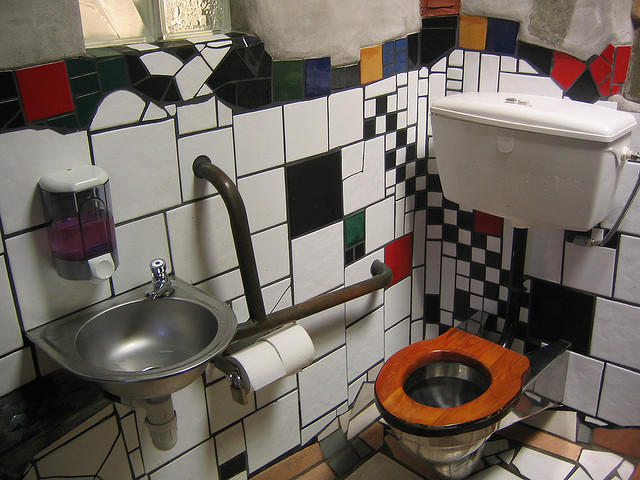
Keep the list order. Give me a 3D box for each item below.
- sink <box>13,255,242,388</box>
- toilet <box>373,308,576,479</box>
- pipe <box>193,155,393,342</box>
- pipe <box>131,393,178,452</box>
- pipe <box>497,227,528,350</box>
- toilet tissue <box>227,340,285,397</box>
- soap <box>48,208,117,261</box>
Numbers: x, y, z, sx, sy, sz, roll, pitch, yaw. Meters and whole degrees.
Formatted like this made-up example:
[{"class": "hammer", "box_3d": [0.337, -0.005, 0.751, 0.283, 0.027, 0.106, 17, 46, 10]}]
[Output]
[{"class": "sink", "box_3d": [-0.392, 0.232, 1.245, 0.331, 0.179, 0.337, 20, 32, 36]}, {"class": "toilet", "box_3d": [0.526, 0.476, 1.836, 0.401, 0.361, 0.718, 15, 35, 35]}, {"class": "pipe", "box_3d": [-0.084, 0.014, 1.666, 0.819, 0.476, 0.272, -15, 15, -41]}, {"class": "pipe", "box_3d": [-0.386, 0.426, 1.279, 0.088, 0.183, 0.036, -16, 28, -24]}, {"class": "pipe", "box_3d": [0.687, 0.171, 1.933, 0.061, 0.453, 0.139, 7, 28, 21]}, {"class": "toilet tissue", "box_3d": [-0.163, 0.335, 1.423, 0.151, 0.136, 0.119, -18, 3, -42]}, {"class": "soap", "box_3d": [-0.519, -0.012, 1.177, 0.051, 0.066, 0.090, 19, 30, 40]}]
